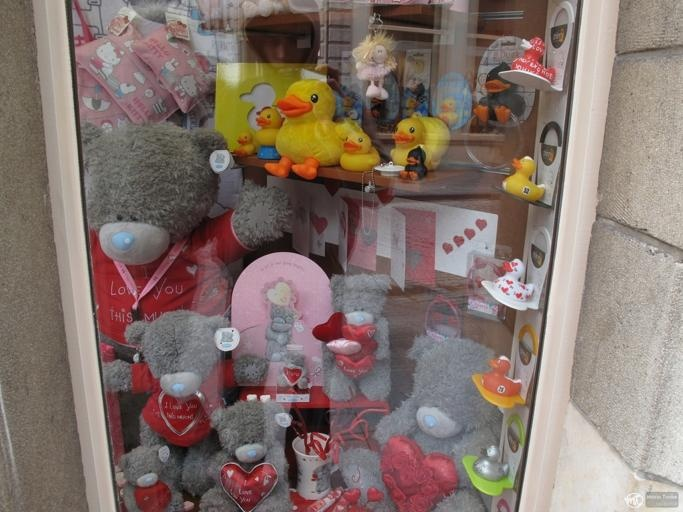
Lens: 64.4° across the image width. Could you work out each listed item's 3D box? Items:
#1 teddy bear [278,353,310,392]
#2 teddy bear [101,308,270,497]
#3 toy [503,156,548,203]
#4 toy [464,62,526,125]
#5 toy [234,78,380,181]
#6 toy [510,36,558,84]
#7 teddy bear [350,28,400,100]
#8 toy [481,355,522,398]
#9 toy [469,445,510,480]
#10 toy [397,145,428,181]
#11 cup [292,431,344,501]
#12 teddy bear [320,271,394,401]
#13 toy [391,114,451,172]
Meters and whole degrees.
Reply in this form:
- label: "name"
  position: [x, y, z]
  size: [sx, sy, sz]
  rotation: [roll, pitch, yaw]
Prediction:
- label: "teddy bear"
  position: [-0.123, 0.293, 1.396]
  size: [0.084, 0.091, 0.047]
  rotation: [1, -15, 13]
- label: "teddy bear"
  position: [-0.386, 0.355, 1.318]
  size: [0.435, 0.481, 0.239]
  rotation: [-1, 1, -18]
- label: "toy"
  position: [0.378, -0.163, 1.152]
  size: [0.048, 0.092, 0.118]
  rotation: [-15, 25, -27]
- label: "toy"
  position: [0.356, -0.366, 1.291]
  size: [0.104, 0.194, 0.141]
  rotation: [-12, 15, -38]
- label: "toy"
  position: [-0.064, -0.265, 1.286]
  size: [0.228, 0.190, 0.230]
  rotation: [-8, 9, -44]
- label: "toy"
  position: [0.391, -0.397, 1.102]
  size: [0.083, 0.087, 0.111]
  rotation: [6, 24, 23]
- label: "teddy bear"
  position: [0.078, -0.443, 1.274]
  size: [0.103, 0.153, 0.036]
  rotation: [-1, 21, 8]
- label: "toy"
  position: [0.359, 0.258, 1.248]
  size: [0.081, 0.085, 0.132]
  rotation: [-2, 22, 4]
- label: "toy"
  position: [0.346, 0.480, 1.279]
  size: [0.077, 0.039, 0.086]
  rotation: [-1, 23, 7]
- label: "toy"
  position: [0.171, -0.216, 1.267]
  size: [0.068, 0.109, 0.070]
  rotation: [7, 13, 30]
- label: "cup"
  position: [-0.050, 0.540, 1.400]
  size: [0.100, 0.144, 0.159]
  rotation: [0, -4, 2]
- label: "teddy bear"
  position: [0.049, 0.200, 1.347]
  size: [0.175, 0.329, 0.081]
  rotation: [0, 1, -2]
- label: "toy"
  position: [0.190, -0.281, 1.334]
  size: [0.129, 0.127, 0.111]
  rotation: [-6, 10, -26]
